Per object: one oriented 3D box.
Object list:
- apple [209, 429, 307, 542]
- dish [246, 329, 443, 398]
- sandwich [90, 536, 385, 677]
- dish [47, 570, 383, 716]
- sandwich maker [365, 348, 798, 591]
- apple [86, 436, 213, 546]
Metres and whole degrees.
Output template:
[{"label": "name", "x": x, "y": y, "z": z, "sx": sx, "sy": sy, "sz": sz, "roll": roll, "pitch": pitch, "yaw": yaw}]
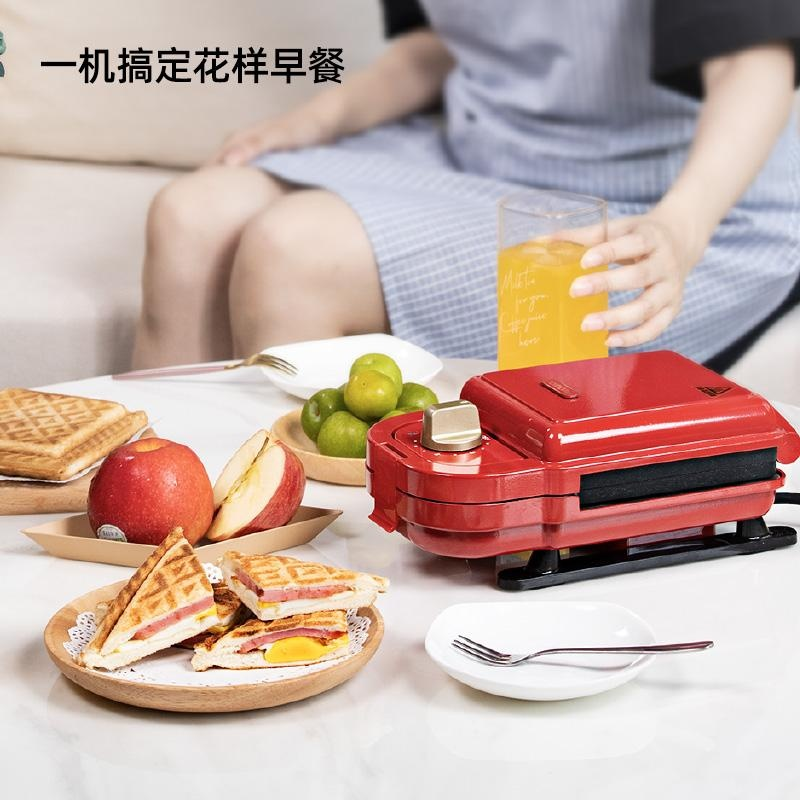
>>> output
[{"label": "apple", "x": -0.129, "y": 0.078, "z": 0.780, "sx": 0.070, "sy": 0.099, "sz": 0.094, "roll": 29, "pitch": 26, "yaw": -12}, {"label": "dish", "x": -0.083, "y": -0.059, "z": 1.245, "sx": 0.195, "sy": 0.032, "sz": 0.126, "roll": -9, "pitch": 23, "yaw": -24}, {"label": "sandwich", "x": -0.116, "y": 0.121, "z": 0.563, "sx": 0.123, "sy": 0.031, "sz": 0.097, "roll": -15, "pitch": 14, "yaw": -37}, {"label": "dish", "x": -0.111, "y": 0.163, "z": 0.567, "sx": 0.176, "sy": 0.015, "sz": 0.174, "roll": -7, "pitch": 9, "yaw": -41}, {"label": "sandwich maker", "x": 0.157, "y": 0.053, "z": 0.767, "sx": 0.379, "sy": 0.103, "sz": 0.171, "roll": -6, "pitch": 16, "yaw": -19}, {"label": "apple", "x": -0.209, "y": 0.078, "z": 0.771, "sx": 0.122, "sy": 0.078, "sz": 0.098, "roll": 1, "pitch": -5, "yaw": 1}]
